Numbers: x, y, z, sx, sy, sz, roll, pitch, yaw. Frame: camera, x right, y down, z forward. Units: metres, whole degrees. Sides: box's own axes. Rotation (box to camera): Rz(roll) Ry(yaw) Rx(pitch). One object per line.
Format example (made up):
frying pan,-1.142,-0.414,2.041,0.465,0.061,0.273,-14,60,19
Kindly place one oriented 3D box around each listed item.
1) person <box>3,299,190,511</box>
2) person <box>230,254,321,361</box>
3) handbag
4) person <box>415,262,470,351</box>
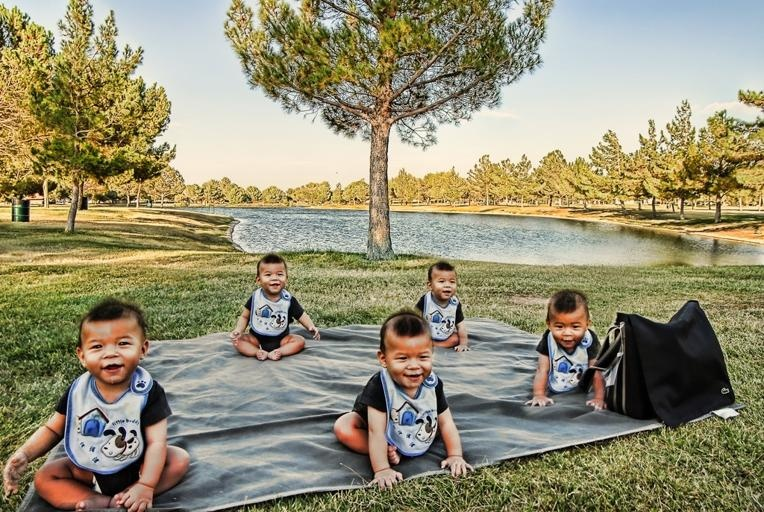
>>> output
person,-2.280,1.169,4.608,1.076,1.652,0.336,0,4,8
person,-1.291,0.598,7.003,1.040,1.233,0.767,2,5,-10
handbag,2.880,0.981,5.883,1.388,1.045,0.744,-7,-2,-17
person,0.732,0.632,7.345,0.722,1.081,0.640,0,7,-7
